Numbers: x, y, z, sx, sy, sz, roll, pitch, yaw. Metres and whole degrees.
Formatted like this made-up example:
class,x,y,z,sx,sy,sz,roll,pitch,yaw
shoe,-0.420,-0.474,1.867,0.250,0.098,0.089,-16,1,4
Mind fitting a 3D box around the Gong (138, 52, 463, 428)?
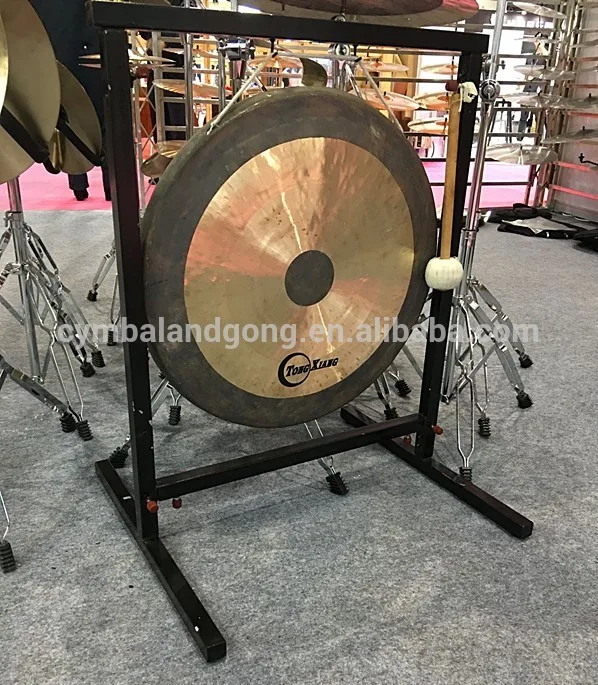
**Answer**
class,x,y,z,sx,sy,sz,roll,pitch,yaw
Gong,0.016,-0.154,1.237,0.708,0.721,0.105,-18,31,-35
